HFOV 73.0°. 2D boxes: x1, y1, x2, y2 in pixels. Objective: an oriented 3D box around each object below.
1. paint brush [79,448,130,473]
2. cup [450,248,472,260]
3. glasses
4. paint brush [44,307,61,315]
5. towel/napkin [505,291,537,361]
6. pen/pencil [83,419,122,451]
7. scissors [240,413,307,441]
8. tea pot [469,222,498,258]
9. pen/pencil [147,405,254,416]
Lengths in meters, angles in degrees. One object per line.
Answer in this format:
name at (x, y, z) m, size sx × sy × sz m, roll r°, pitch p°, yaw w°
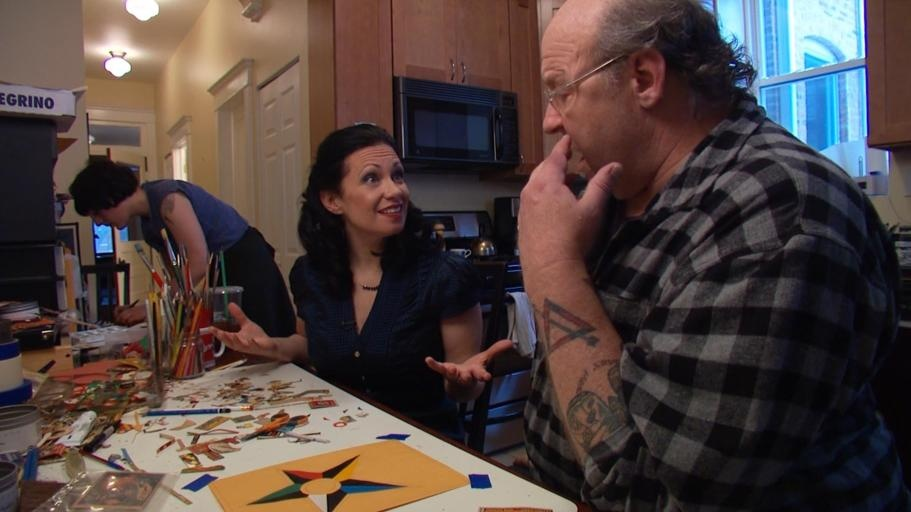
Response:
paint brush at (-0.970, 0.566, 1.705) m, size 0.132 × 0.015 × 0.015 m, roll 14°, pitch 37°, yaw 29°
cup at (0.041, -0.014, 3.895) m, size 0.106 × 0.040 × 0.070 m, roll 1°, pitch -2°, yaw -35°
glasses at (0.370, -0.484, 1.773) m, size 0.168 × 0.049 × 0.158 m, roll -30°, pitch 8°, yaw 10°
paint brush at (-1.699, 0.232, 2.613) m, size 0.044 × 0.014 × 0.039 m, roll 14°, pitch 12°, yaw 25°
towel/napkin at (0.346, 0.361, 3.337) m, size 0.278 × 0.366 × 0.120 m, roll 6°, pitch -22°, yaw -4°
pen/pencil at (-1.010, 0.515, 1.778) m, size 0.020 × 0.019 × 0.139 m, roll -3°, pitch 13°, yaw 13°
scissors at (-0.519, 0.500, 1.807) m, size 0.105 × 0.018 × 0.073 m, roll -14°, pitch 15°, yaw -37°
tea pot at (0.199, -0.113, 4.147) m, size 0.226 × 0.234 × 0.223 m, roll 0°, pitch 6°, yaw 0°
pen/pencil at (-0.782, 0.476, 1.902) m, size 0.279 × 0.022 × 0.023 m, roll 0°, pitch 3°, yaw -7°
